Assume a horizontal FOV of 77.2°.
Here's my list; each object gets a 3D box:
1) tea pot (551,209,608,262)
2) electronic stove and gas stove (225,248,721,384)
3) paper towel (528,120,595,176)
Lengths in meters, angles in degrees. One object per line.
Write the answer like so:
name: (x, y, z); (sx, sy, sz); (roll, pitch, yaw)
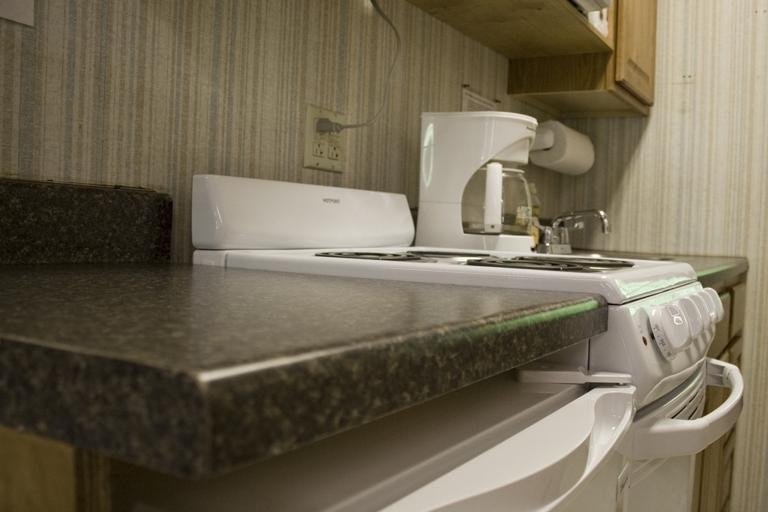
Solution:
tea pot: (0.780, -0.118, 1.957); (0.244, 0.147, 0.115); (0, 25, 43)
electronic stove and gas stove: (0.126, 0.044, 0.969); (0.515, 0.212, 0.996); (2, 4, 18)
paper towel: (0.770, -0.464, 2.091); (0.304, 0.228, 0.213); (-11, -24, -21)
